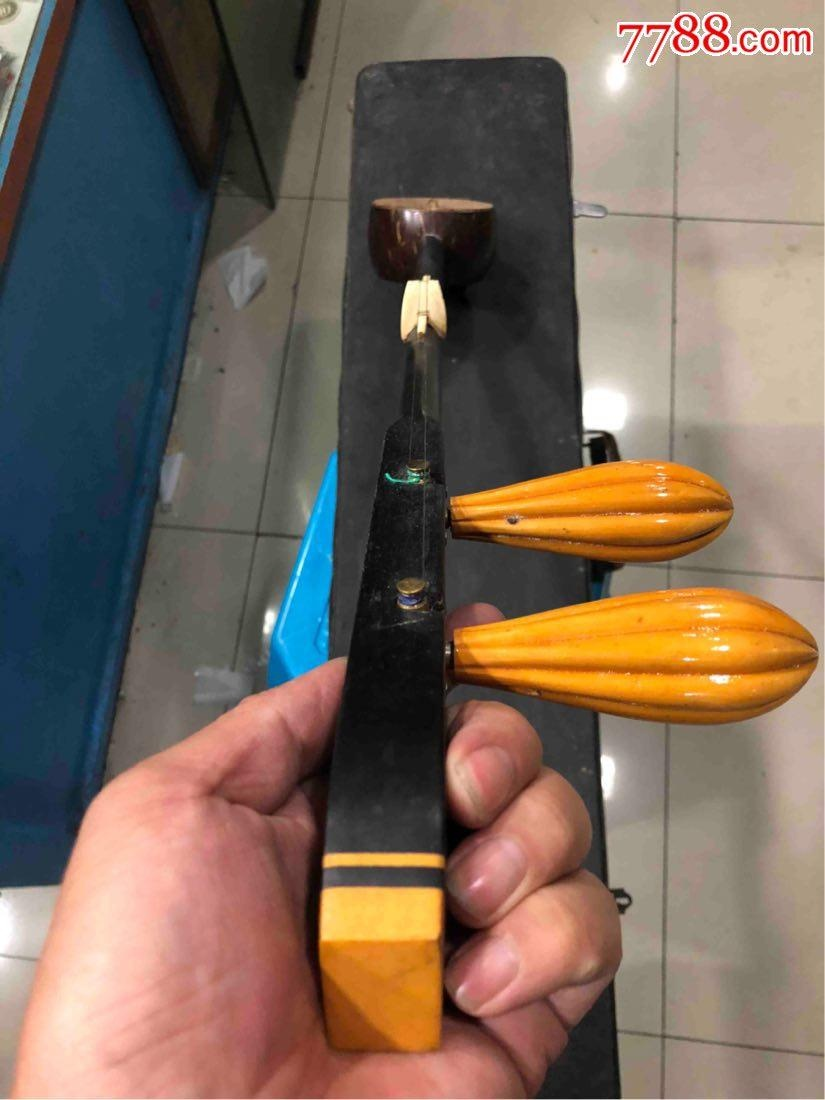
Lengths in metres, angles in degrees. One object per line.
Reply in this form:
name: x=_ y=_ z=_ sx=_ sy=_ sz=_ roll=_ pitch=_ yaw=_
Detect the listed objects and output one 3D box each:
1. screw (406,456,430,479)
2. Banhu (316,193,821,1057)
screw: x=0.004 y=-0.065 z=0.781 sx=0.012 sy=0.007 sz=0.018 roll=7 pitch=65 yaw=3
Banhu: x=0.063 y=-0.007 z=0.748 sx=0.253 sy=0.151 sz=0.682 roll=8 pitch=64 yaw=-9
